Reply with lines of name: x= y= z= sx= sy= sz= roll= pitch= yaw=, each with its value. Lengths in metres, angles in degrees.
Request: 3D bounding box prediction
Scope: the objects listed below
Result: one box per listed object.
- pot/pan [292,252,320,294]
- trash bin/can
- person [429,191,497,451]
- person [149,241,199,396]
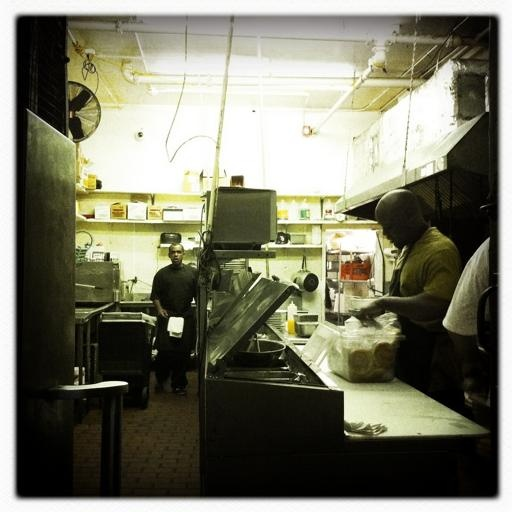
pot/pan: x=0.536 y=0.175 z=6.551 sx=0.162 sy=0.448 sz=0.401 roll=-1 pitch=3 yaw=-19
trash bin/can: x=-1.178 y=0.890 z=5.153 sx=0.356 sy=0.850 sz=0.743 roll=0 pitch=-1 yaw=-9
person: x=0.867 y=0.261 z=2.366 sx=0.193 sy=0.936 sz=0.634 roll=1 pitch=2 yaw=19
person: x=-0.789 y=0.589 z=5.478 sx=0.428 sy=1.370 sz=0.568 roll=0 pitch=2 yaw=-10
